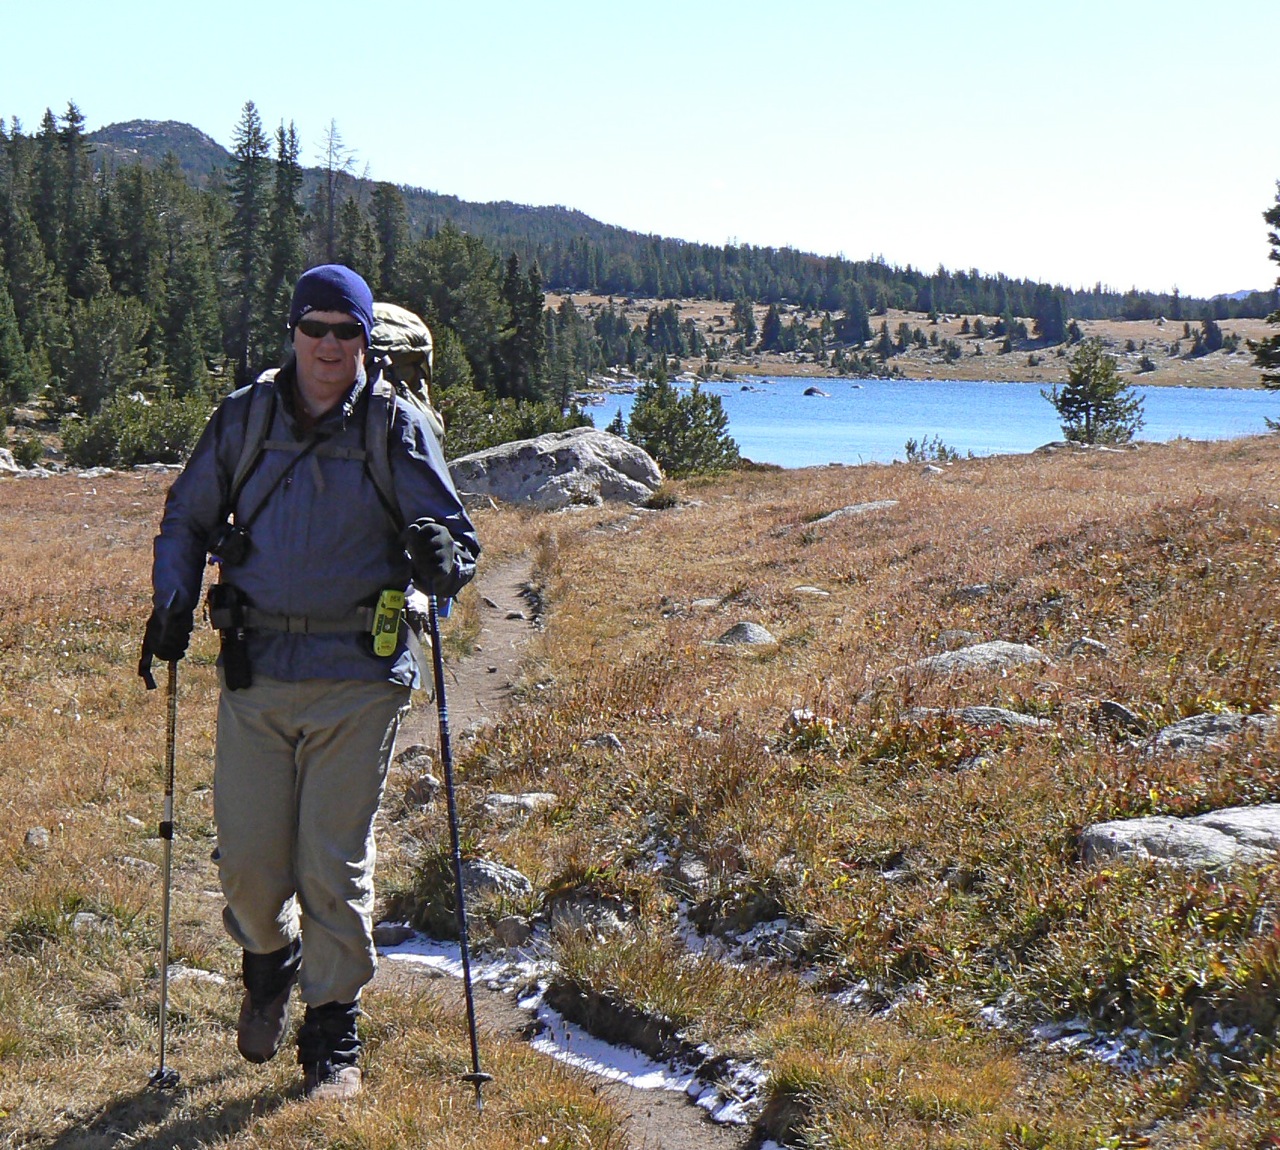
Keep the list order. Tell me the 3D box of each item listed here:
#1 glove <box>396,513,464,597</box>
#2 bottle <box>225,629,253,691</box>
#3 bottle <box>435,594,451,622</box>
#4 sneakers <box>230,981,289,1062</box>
[{"bbox_3d":[-1.137,-0.108,8.731,0.299,0.446,0.145,3,-20,-44],"label":"glove"},{"bbox_3d":[-2.199,0.459,8.696,0.164,0.323,0.146,-7,9,-17],"label":"bottle"},{"bbox_3d":[-1.120,0.188,9.029,0.068,0.141,0.035,0,4,0],"label":"bottle"},{"bbox_3d":[-2.153,2.503,9.008,0.194,0.541,0.194,0,-4,1],"label":"sneakers"}]
